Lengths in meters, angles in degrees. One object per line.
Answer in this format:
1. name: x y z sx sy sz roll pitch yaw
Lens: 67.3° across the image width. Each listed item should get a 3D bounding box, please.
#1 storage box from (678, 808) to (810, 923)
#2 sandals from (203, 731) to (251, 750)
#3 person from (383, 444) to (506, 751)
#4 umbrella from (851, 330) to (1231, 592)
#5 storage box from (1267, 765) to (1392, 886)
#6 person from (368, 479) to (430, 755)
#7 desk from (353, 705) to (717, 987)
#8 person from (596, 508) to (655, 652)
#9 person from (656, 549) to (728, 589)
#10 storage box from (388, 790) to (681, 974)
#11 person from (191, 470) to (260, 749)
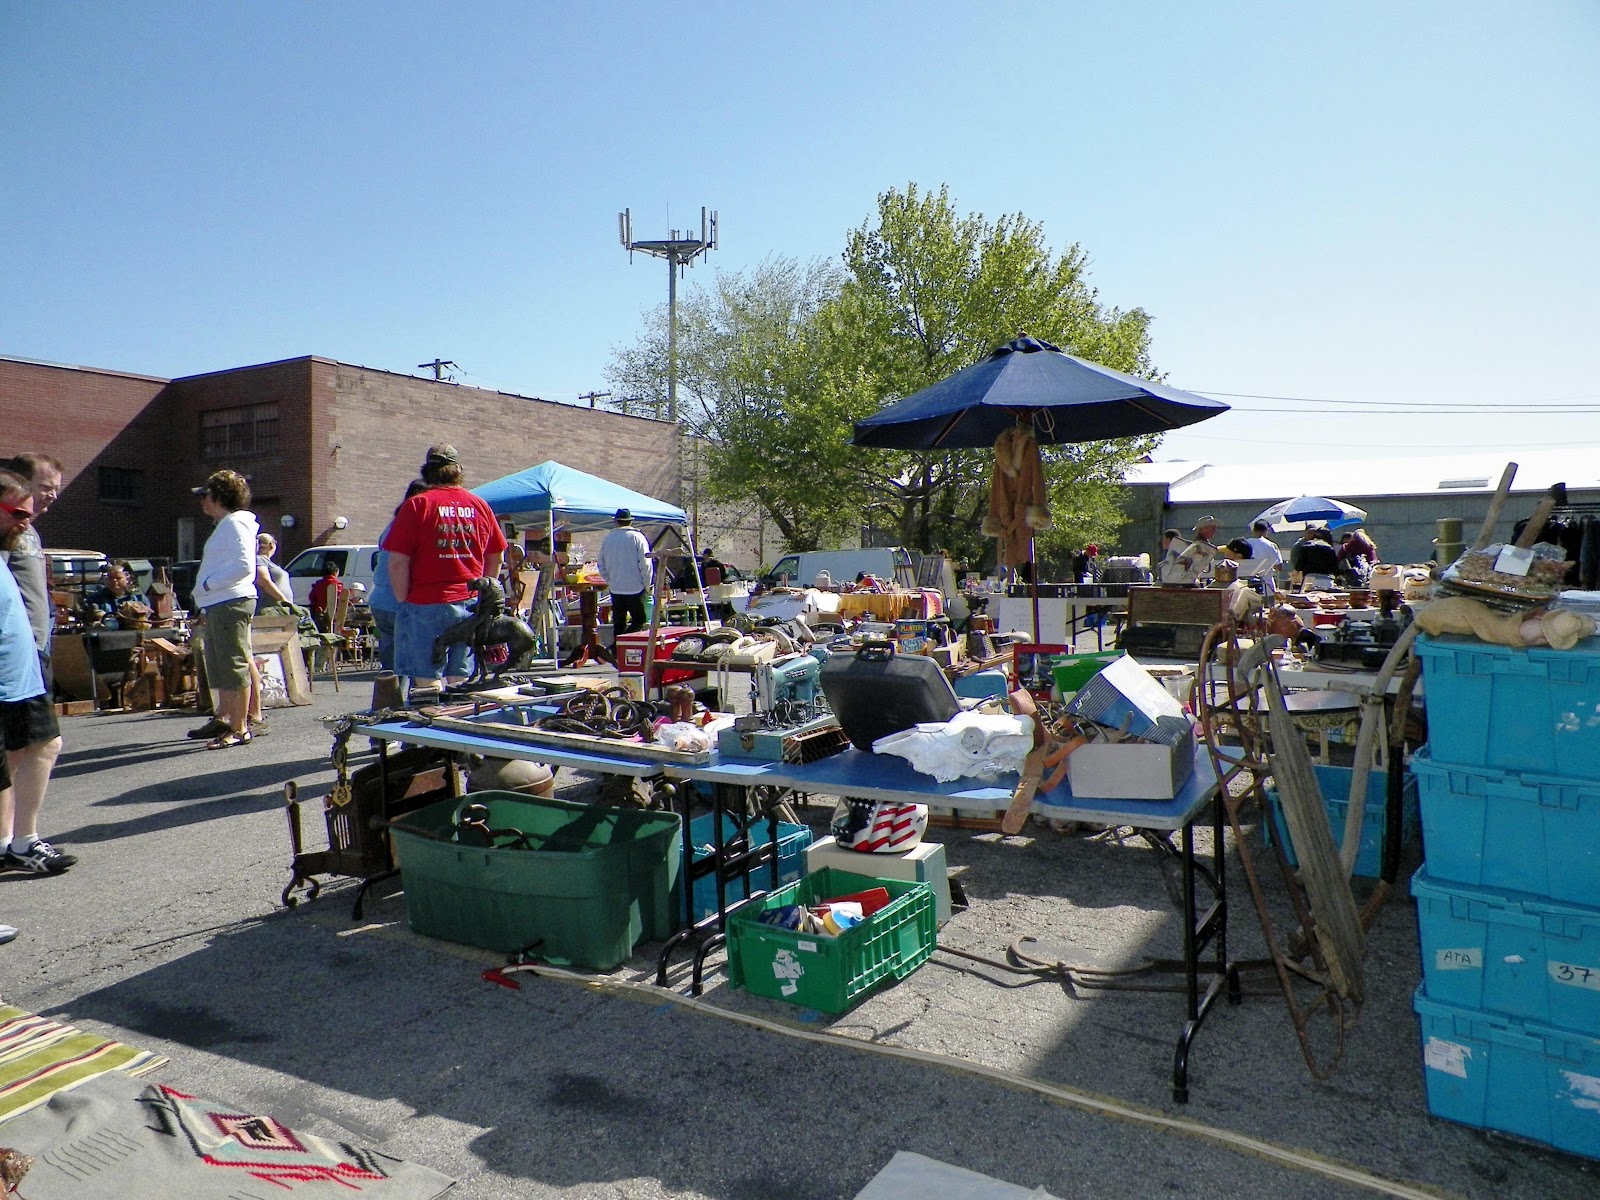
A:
1. storage box: -0.218 1.174 5.401 0.377 0.206 0.598 -3 -3 28
2. sandals: -4.274 1.067 9.018 0.120 0.102 0.299 -3 -9 14
3. person: -1.994 0.042 6.560 0.502 1.700 0.740 14 11 38
4. umbrella: 1.384 -0.825 7.257 1.920 1.464 1.823 -1 10 1
5. storage box: 2.401 1.007 5.468 0.569 0.403 0.753 0 7 19
6. person: -2.520 0.057 7.471 0.416 1.520 0.419 11 18 18
7. desk: -1.190 1.014 5.140 1.216 0.799 0.701 4 8 20
8. person: -1.663 -0.153 11.704 0.508 1.278 2.403 -3 10 -8
9. person: -1.465 -0.347 17.800 1.253 0.580 0.872 1 6 33
10. storage box: -1.103 1.137 5.078 1.131 0.590 0.683 6 12 33
11. person: -3.927 0.069 8.253 0.453 1.840 0.692 1 -2 -37
